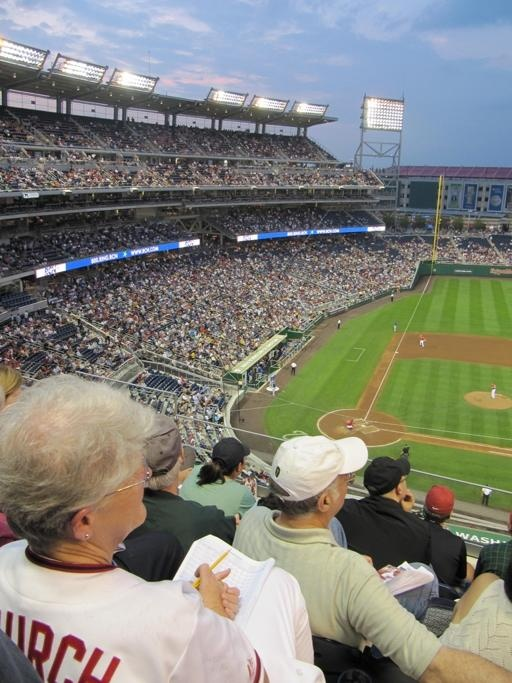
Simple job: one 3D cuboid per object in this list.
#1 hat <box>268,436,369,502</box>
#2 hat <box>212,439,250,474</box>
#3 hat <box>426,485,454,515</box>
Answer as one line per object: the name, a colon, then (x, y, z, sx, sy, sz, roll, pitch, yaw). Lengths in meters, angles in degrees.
hat: (0.419, 0.742, 3.049, 0.587, 0.246, 0.346, -19, 32, -17)
hat: (-0.266, 1.112, 5.043, 0.251, 0.174, 0.356, 10, 27, 24)
hat: (1.746, 1.495, 4.918, 0.238, 0.143, 0.299, 6, 23, 17)
